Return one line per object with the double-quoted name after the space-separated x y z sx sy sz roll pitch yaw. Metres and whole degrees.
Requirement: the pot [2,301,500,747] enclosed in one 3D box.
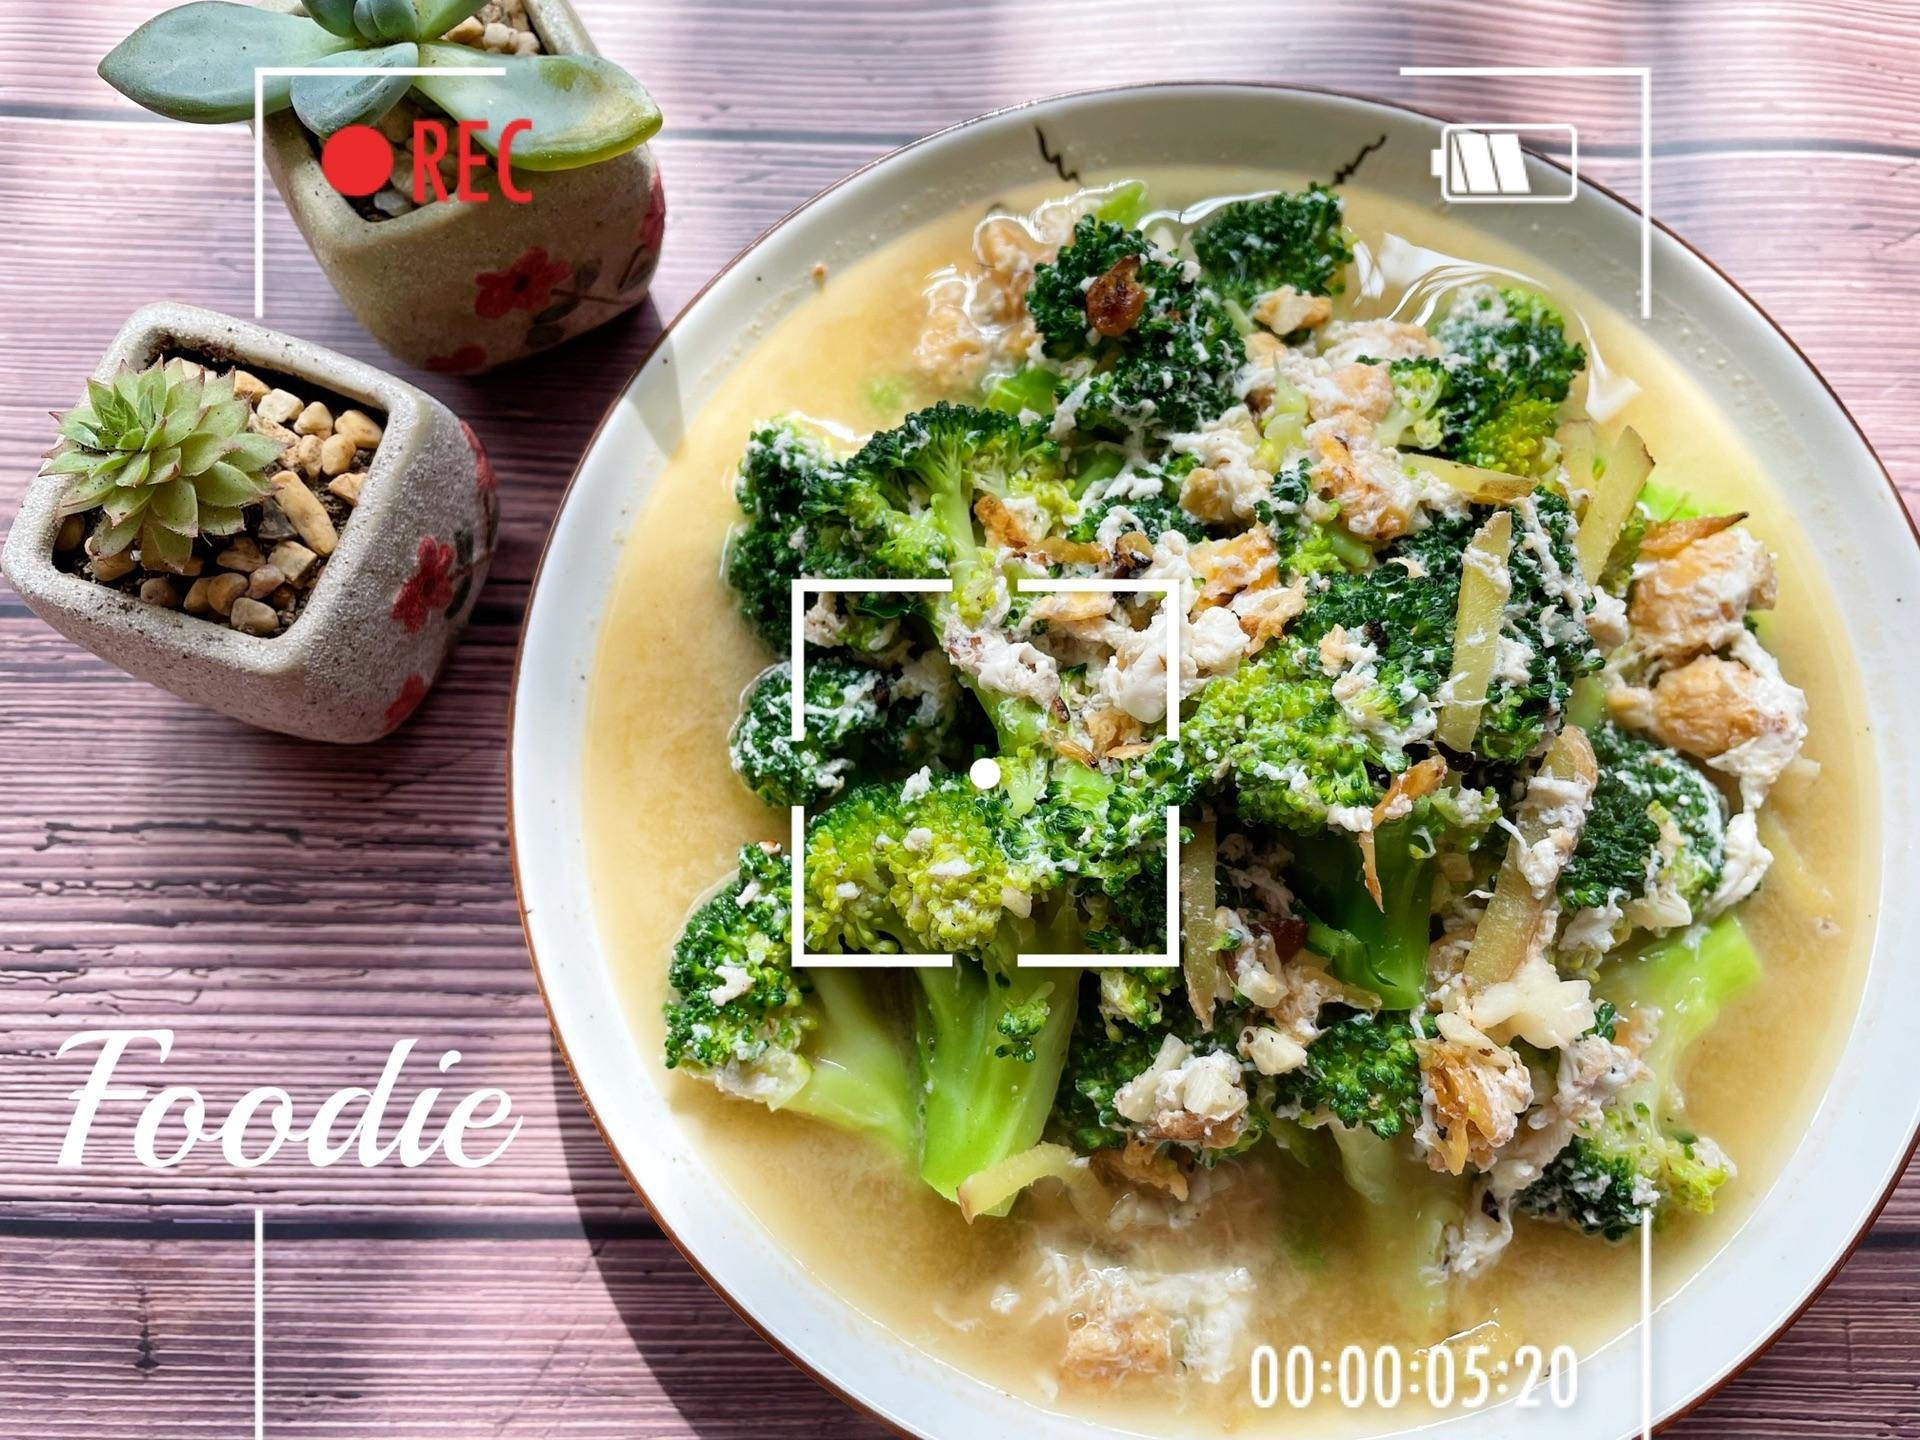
-0.884 -0.252 2.674 0.615 0.490 0.572 0 90 -7 "pot"
